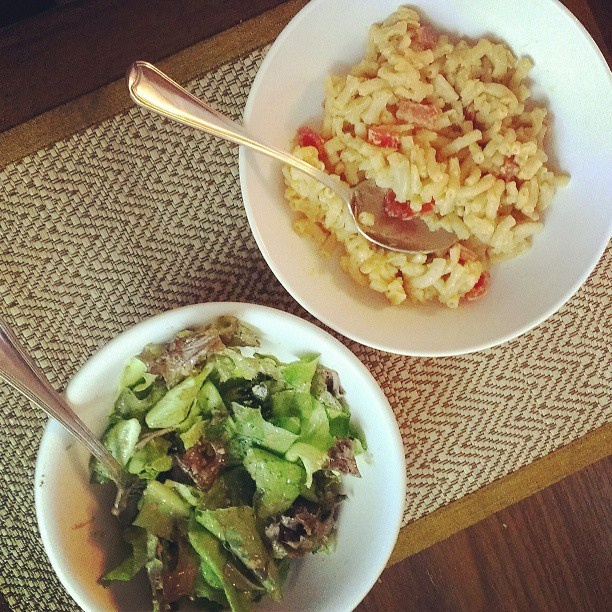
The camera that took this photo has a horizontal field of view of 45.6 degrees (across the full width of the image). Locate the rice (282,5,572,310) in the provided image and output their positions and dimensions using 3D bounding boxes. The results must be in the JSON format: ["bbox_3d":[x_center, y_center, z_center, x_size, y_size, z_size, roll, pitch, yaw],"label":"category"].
[{"bbox_3d":[0.245,-0.299,1.590,0.586,0.542,0.524,23,61,5],"label":"rice"}]

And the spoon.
[{"bbox_3d":[-0.101,-0.330,1.400,0.639,0.089,0.162,32,75,17],"label":"spoon"}]
